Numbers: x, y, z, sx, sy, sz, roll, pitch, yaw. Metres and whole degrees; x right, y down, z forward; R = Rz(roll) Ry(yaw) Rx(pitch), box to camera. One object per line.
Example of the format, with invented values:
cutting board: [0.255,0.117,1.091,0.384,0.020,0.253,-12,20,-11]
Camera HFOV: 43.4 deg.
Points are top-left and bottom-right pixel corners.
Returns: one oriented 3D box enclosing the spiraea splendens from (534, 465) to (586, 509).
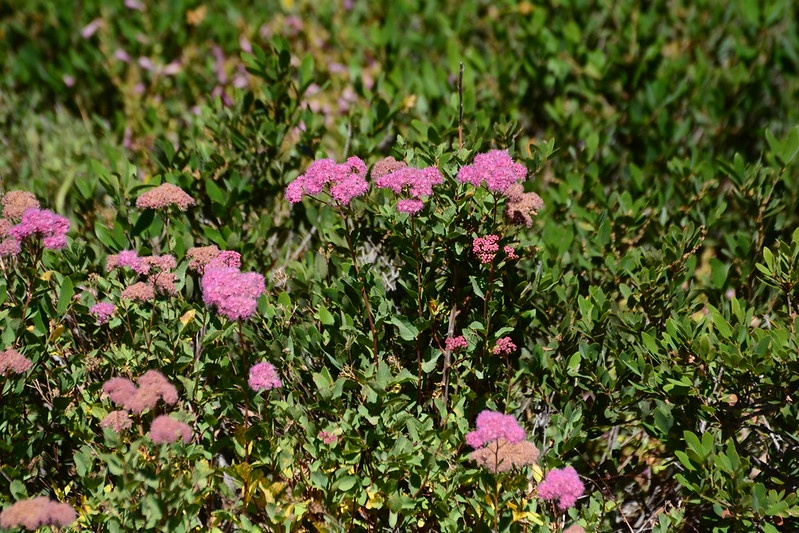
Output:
spiraea splendens: [0.973,1.320,6.106,0.205,0.261,0.201,-3,83,1]
